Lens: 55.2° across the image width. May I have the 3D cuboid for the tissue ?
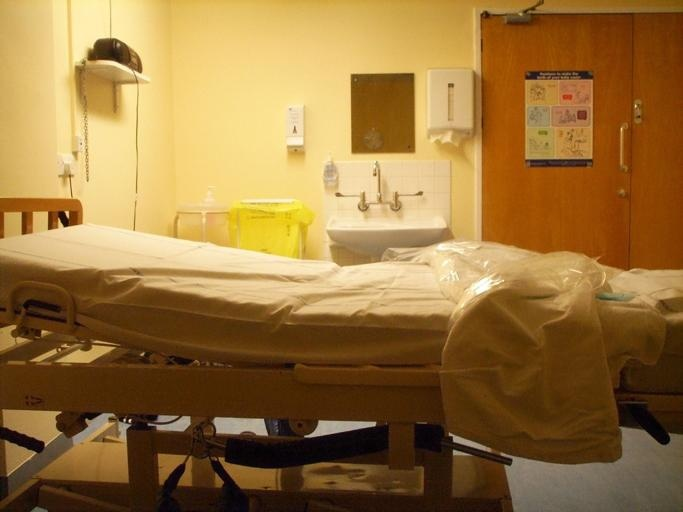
[{"bbox_3d":[0.792,-1.164,4.673,0.330,0.195,0.564,3,-37,12],"label":"tissue "}]

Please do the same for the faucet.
[{"bbox_3d":[0.259,-0.479,4.676,0.637,0.401,0.250,-1,14,8],"label":"faucet"}]

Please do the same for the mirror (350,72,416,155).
[{"bbox_3d":[0.319,-1.064,4.770,0.526,0.714,0.067,-1,6,3],"label":"mirror"}]

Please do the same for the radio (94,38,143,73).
[{"bbox_3d":[-1.278,-1.156,3.760,0.328,0.173,0.196,-4,16,-40],"label":"radio"}]
